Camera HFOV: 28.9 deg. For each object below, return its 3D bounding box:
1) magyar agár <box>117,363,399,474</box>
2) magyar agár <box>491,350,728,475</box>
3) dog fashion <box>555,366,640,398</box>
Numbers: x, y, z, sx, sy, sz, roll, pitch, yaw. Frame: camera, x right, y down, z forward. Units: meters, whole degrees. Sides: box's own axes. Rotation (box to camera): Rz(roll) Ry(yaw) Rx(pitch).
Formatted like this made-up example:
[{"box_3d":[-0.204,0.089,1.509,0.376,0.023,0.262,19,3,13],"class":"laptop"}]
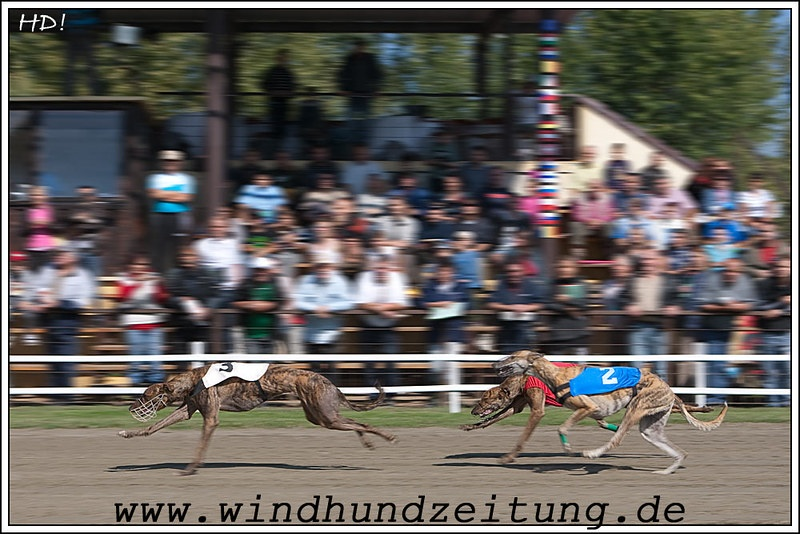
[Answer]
[{"box_3d":[-1.390,1.469,14.760,3.866,0.639,1.078,-3,10,-17],"class":"magyar agár"},{"box_3d":[1.870,1.345,14.095,1.880,1.152,0.455,0,8,6],"class":"magyar agár"},{"box_3d":[1.779,1.054,14.085,0.793,0.289,0.135,0,7,3],"class":"dog fashion"}]
